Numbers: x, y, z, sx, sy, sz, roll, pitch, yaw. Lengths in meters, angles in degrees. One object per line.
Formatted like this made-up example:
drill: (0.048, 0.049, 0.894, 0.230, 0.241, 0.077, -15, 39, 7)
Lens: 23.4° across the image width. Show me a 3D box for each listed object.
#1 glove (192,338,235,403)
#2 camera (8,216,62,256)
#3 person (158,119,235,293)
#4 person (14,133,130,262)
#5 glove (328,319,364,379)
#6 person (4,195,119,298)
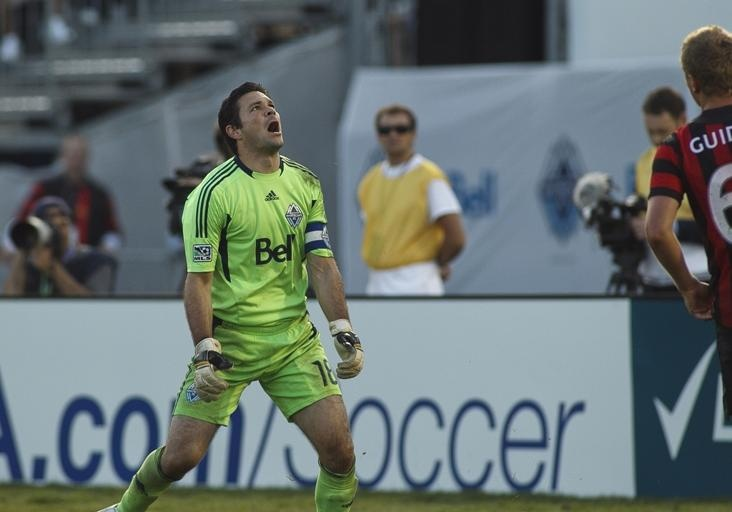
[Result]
glove: (-0.888, 0.632, 10.768, 0.210, 0.370, 0.240, 1, 24, -31)
camera: (-2.238, -0.152, 12.006, 0.256, 0.311, 0.074, 9, 13, -4)
person: (-1.177, -0.374, 12.301, 0.361, 1.048, 0.622, 11, -2, -29)
person: (-1.981, -0.366, 12.068, 0.679, 1.366, 0.444, 0, -8, -3)
glove: (-0.112, 0.580, 10.916, 0.192, 0.357, 0.156, -13, -27, -16)
person: (-2.078, 0.024, 12.084, 0.757, 0.678, 0.928, 3, 13, -3)
